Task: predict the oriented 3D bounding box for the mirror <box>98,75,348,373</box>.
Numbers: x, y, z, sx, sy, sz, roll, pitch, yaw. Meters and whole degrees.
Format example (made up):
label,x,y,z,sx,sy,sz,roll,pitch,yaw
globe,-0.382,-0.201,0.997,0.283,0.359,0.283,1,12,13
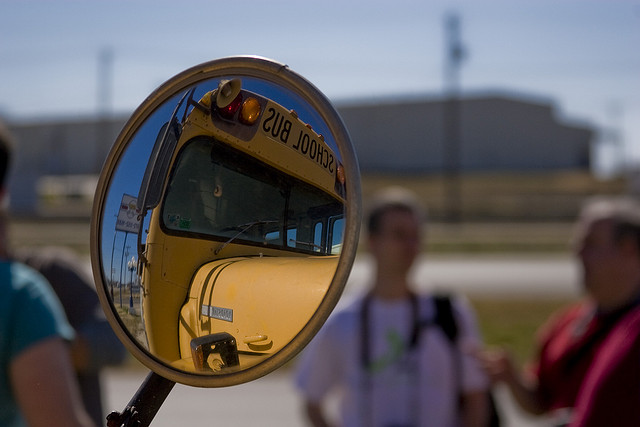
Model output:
label,x,y,z,sx,sy,sz,roll,pitch,yaw
mirror,-0.257,0.033,2.549,0.733,0.962,0.156,7,-26,-6
